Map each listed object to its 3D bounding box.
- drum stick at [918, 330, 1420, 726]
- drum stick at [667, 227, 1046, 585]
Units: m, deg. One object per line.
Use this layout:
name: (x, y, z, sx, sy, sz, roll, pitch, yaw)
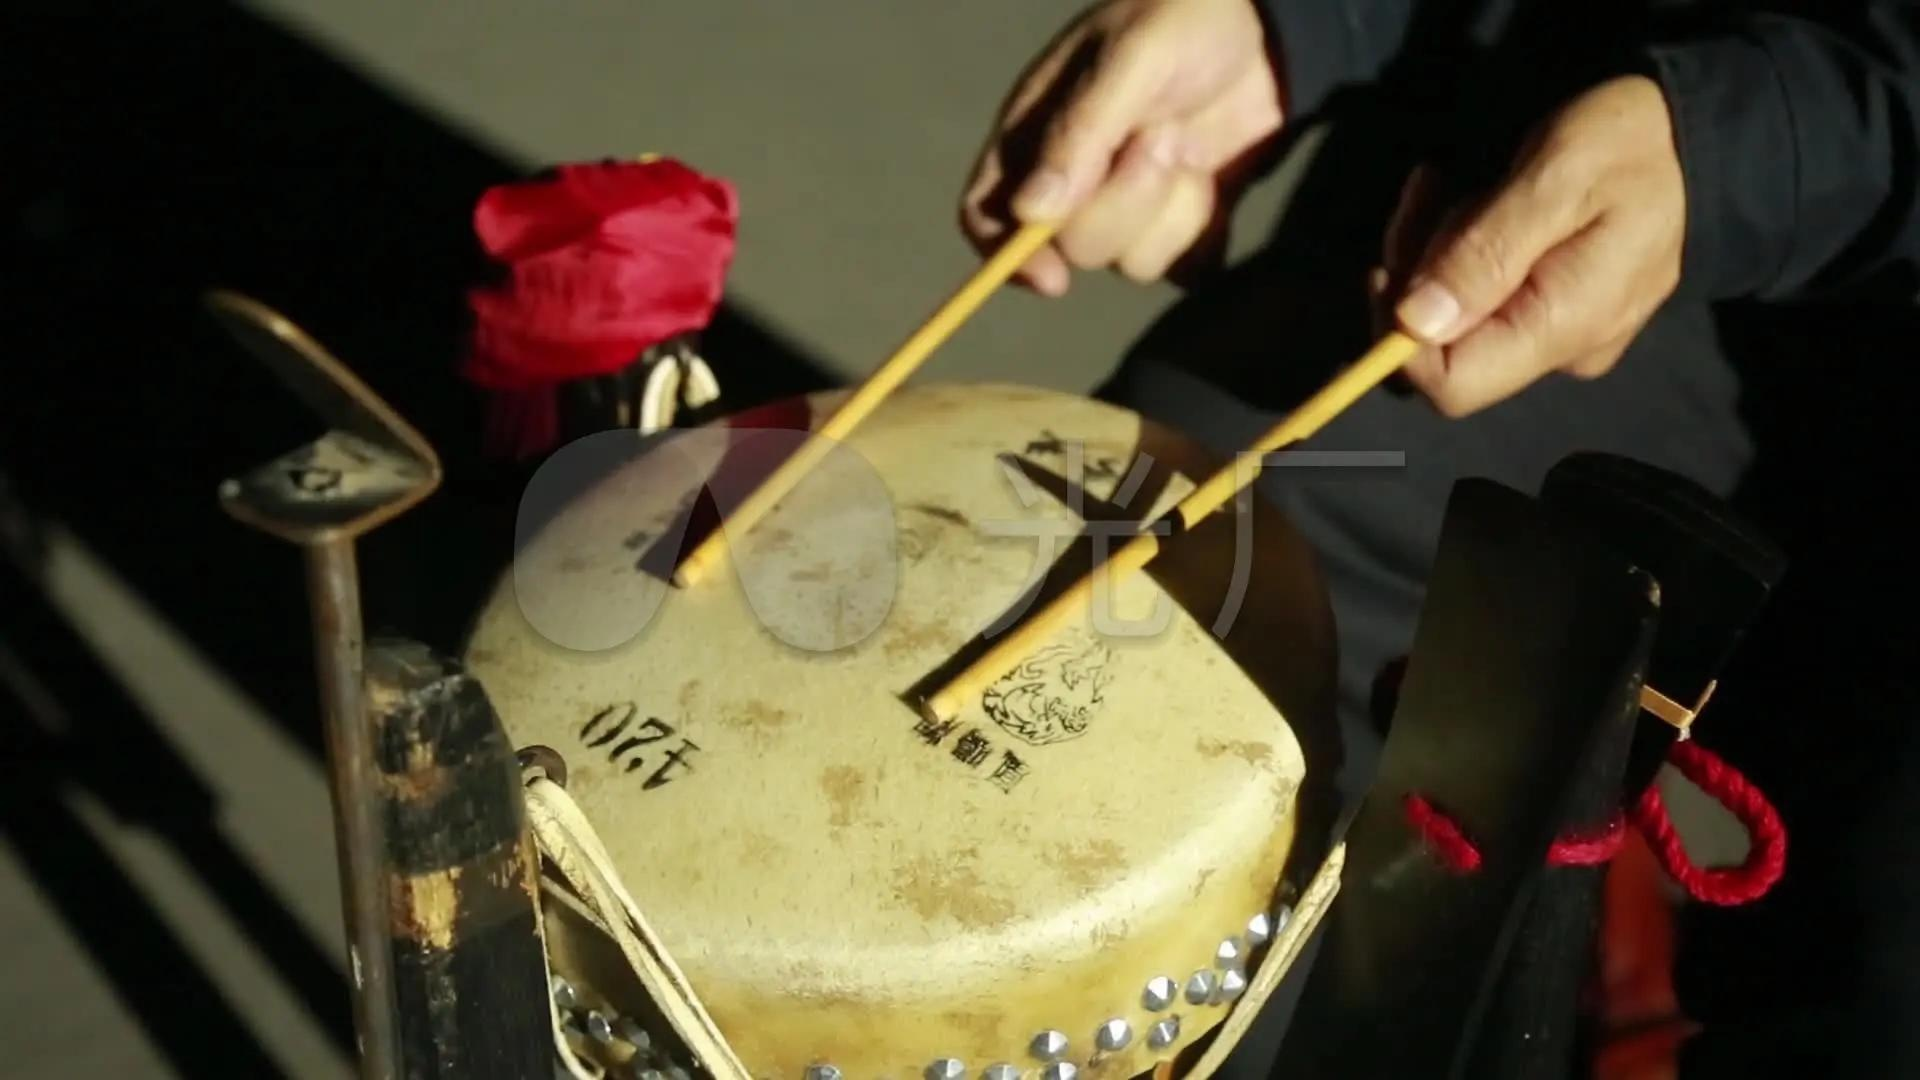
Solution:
drum stick: (0.221, 0.007, 2.498, 0.656, 0.035, 0.066, -37, 91, -11)
drum stick: (-0.107, -0.141, 2.645, 0.616, 0.061, 0.033, -44, 19, -8)
